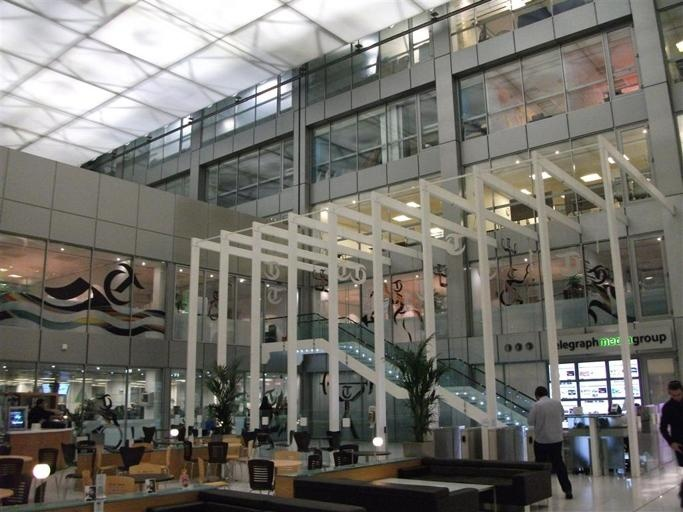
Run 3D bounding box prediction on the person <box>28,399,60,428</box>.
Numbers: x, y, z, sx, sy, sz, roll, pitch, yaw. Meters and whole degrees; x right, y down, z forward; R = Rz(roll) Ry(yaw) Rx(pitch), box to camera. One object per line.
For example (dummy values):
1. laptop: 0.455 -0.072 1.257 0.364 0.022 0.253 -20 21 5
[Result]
1. person: -8.996 4.676 17.614 0.731 0.843 2.911 6 -18 -25
